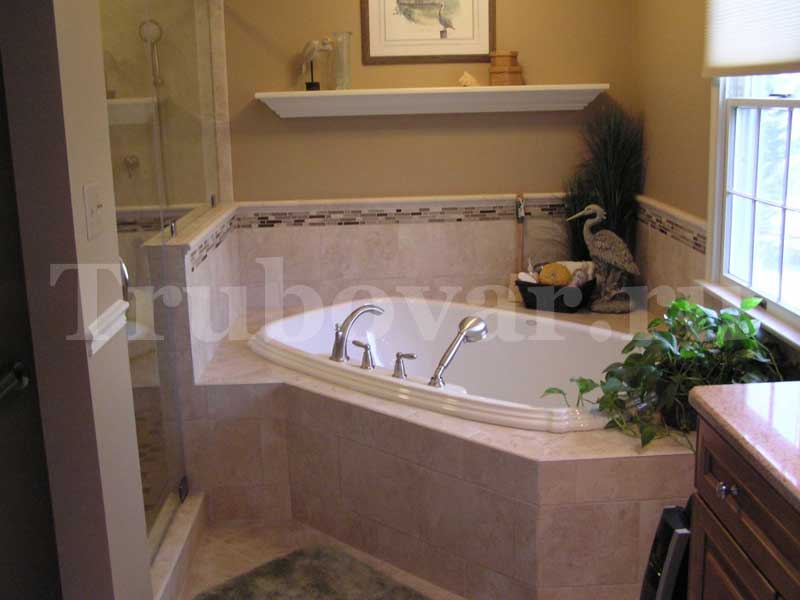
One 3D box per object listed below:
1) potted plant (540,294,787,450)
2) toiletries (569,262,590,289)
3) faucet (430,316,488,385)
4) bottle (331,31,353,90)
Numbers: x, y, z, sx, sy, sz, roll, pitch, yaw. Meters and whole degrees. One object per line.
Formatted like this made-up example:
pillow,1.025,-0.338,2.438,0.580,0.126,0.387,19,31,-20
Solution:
potted plant,0.945,0.185,2.406,0.464,0.318,0.686,-1,3,-37
toiletries,0.982,-0.139,3.678,0.081,0.066,0.159,-1,36,37
faucet,0.232,0.198,2.692,0.178,0.257,0.255,8,18,31
bottle,-0.323,-1.307,3.728,0.104,0.297,0.083,-2,15,-2
